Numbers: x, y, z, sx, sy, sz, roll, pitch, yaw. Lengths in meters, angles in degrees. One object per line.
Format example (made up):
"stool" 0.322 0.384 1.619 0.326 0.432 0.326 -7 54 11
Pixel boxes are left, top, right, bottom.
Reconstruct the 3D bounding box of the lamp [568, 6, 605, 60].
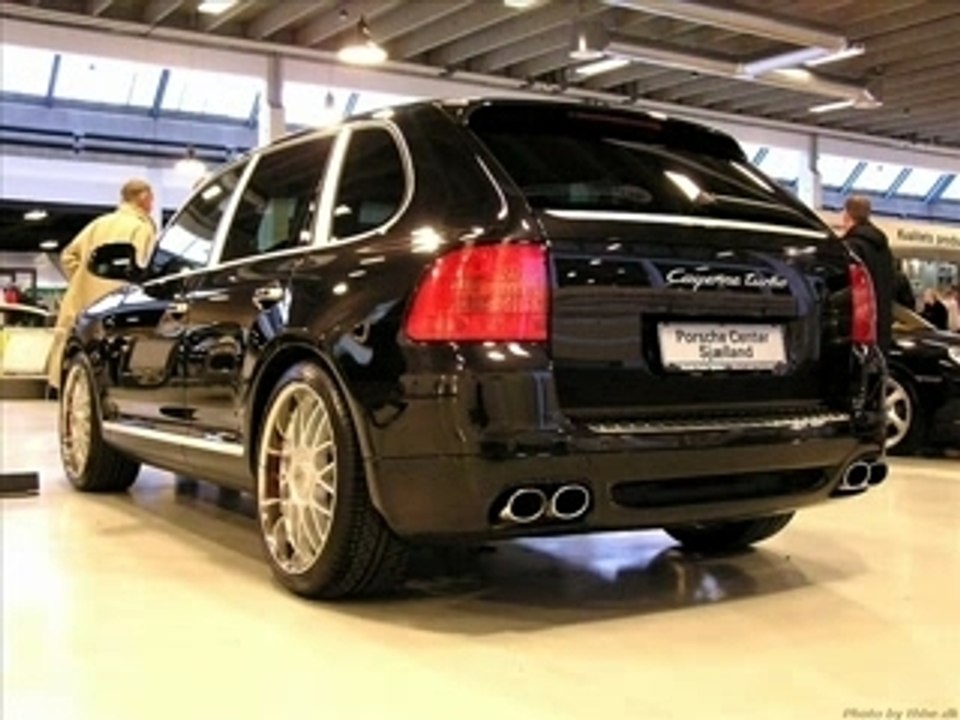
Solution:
"lamp" 2.080 -6.286 13.691 1.171 0.549 0.733 -2 -7 11

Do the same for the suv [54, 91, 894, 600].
"suv" -0.485 -0.206 3.385 1.997 0.904 3.619 1 3 -32

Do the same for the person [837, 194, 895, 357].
"person" 3.646 -0.869 6.967 0.684 1.299 0.539 1 18 21
